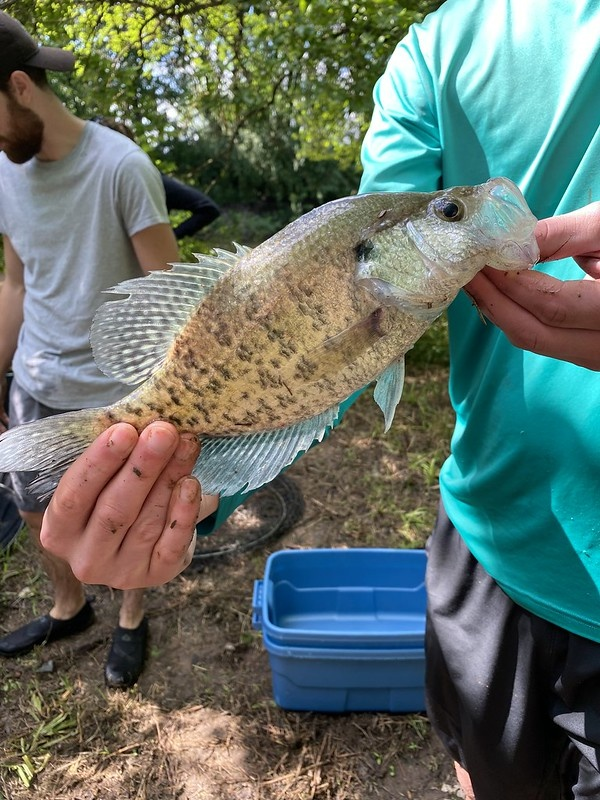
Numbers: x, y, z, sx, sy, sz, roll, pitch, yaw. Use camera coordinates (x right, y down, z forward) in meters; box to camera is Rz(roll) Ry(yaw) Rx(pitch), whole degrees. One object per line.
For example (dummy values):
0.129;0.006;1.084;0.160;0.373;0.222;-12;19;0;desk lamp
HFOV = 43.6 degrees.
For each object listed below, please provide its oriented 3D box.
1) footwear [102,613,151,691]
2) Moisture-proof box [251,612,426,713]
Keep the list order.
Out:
-0.828;1.165;3.582;0.200;0.160;0.461;11;29;-9;footwear
0.161;1.123;3.243;0.731;0.235;0.437;1;-17;-2;Moisture-proof box
